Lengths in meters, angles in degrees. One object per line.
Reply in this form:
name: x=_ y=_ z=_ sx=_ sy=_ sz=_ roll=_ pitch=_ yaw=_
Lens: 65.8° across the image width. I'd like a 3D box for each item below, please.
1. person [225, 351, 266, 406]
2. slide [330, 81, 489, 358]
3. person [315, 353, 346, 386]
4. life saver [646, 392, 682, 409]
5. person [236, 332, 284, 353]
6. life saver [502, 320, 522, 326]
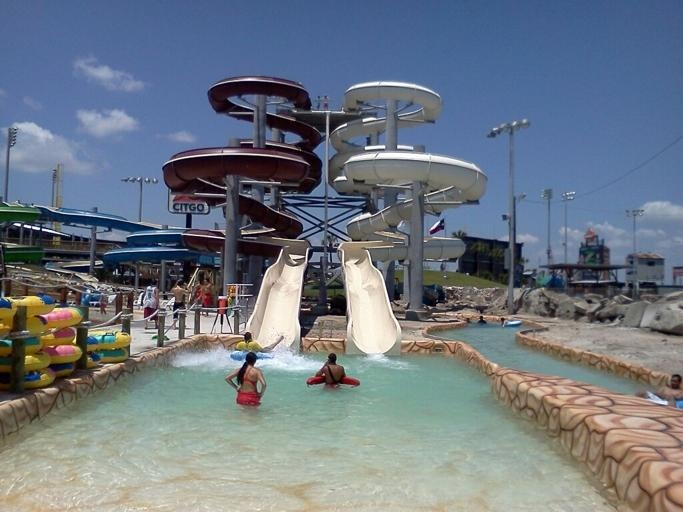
person: x=-1.484 y=1.894 z=8.137 sx=0.536 sy=0.850 sz=0.487 roll=0 pitch=1 yaw=-11
slide: x=2.672 y=-2.458 z=24.988 sx=8.146 sy=10.441 sz=11.946 roll=-7 pitch=12 yaw=0
person: x=-0.182 y=2.101 z=9.480 sx=0.594 sy=0.654 sz=0.373 roll=0 pitch=15 yaw=-14
life saver: x=4.319 y=1.930 z=7.042 sx=0.569 sy=0.120 sz=0.139 roll=10 pitch=20 yaw=7
person: x=-1.945 y=2.051 z=12.139 sx=0.534 sy=0.537 sz=1.177 roll=3 pitch=4 yaw=30
life saver: x=7.073 y=2.862 z=21.969 sx=0.564 sy=0.181 sz=1.194 roll=1 pitch=1 yaw=30
